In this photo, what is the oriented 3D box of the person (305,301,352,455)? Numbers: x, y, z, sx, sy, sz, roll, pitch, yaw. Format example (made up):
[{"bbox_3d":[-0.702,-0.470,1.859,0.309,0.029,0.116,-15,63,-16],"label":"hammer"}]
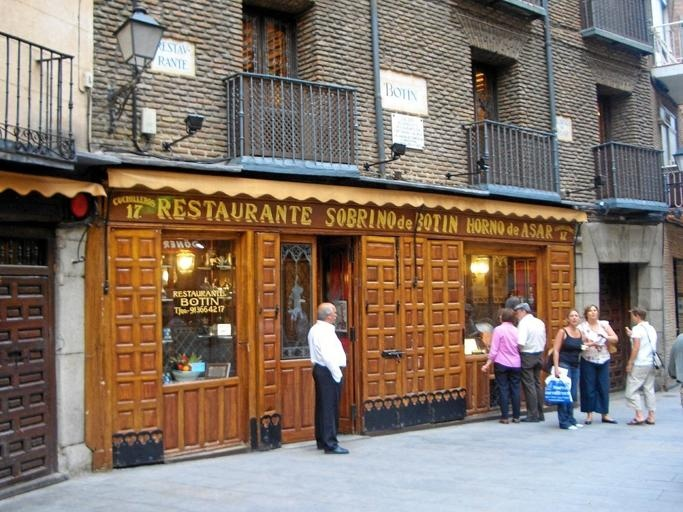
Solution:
[{"bbox_3d":[-0.207,2.031,14.385,0.577,2.485,0.703,0,1,-22],"label":"person"}]

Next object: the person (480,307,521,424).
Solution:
[{"bbox_3d":[3.273,2.185,17.017,0.604,2.257,0.286,0,1,8],"label":"person"}]

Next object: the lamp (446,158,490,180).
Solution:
[{"bbox_3d":[2.661,-1.812,17.816,0.781,0.359,0.477,-5,-2,28],"label":"lamp"}]

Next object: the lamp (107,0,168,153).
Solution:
[{"bbox_3d":[-3.317,-2.807,13.637,0.559,2.246,1.016,-1,1,-38],"label":"lamp"}]

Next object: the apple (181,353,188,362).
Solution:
[{"bbox_3d":[-2.671,1.704,14.378,0.102,0.088,0.152,-7,-40,-20],"label":"apple"}]

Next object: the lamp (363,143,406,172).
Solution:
[{"bbox_3d":[0.983,-1.915,16.564,0.601,0.532,1.088,1,2,43],"label":"lamp"}]

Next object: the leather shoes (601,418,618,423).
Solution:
[{"bbox_3d":[5.345,3.240,16.929,0.291,0.124,0.105,-4,-1,21],"label":"leather shoes"}]

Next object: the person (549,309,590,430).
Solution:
[{"bbox_3d":[4.435,2.156,16.608,0.582,2.289,1.159,1,1,26],"label":"person"}]

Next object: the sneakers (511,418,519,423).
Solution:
[{"bbox_3d":[3.501,3.277,17.112,0.103,0.094,0.227,-1,-5,5],"label":"sneakers"}]

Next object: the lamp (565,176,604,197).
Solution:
[{"bbox_3d":[5.922,-1.664,20.589,0.704,0.177,0.719,-18,-7,33],"label":"lamp"}]

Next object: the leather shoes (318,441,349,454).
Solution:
[{"bbox_3d":[-0.140,3.216,14.330,0.511,0.223,0.197,0,-1,2],"label":"leather shoes"}]

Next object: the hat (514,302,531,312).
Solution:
[{"bbox_3d":[3.723,1.032,17.455,0.326,0.185,0.241,5,-4,9],"label":"hat"}]

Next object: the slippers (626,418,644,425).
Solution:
[{"bbox_3d":[5.818,3.241,16.773,0.293,0.108,0.121,0,-3,11],"label":"slippers"}]

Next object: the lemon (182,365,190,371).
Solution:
[{"bbox_3d":[-2.639,1.876,14.357,0.067,0.096,0.072,2,-20,21],"label":"lemon"}]

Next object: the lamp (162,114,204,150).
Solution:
[{"bbox_3d":[-2.590,-2.074,14.151,0.322,0.547,1.076,-3,-1,-38],"label":"lamp"}]

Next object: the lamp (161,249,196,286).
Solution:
[{"bbox_3d":[-2.760,0.159,14.437,0.553,0.600,0.400,3,-5,-19],"label":"lamp"}]

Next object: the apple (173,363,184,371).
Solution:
[{"bbox_3d":[-2.742,1.845,14.296,0.102,0.115,0.143,3,15,-15],"label":"apple"}]
